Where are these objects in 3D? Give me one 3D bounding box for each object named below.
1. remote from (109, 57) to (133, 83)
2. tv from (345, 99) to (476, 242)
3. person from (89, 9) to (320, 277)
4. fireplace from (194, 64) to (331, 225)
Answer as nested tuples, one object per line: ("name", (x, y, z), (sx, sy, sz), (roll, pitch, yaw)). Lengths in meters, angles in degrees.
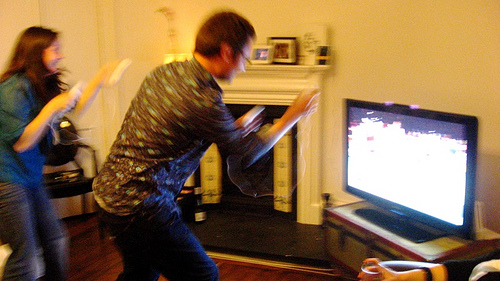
("remote", (-0.986, -0.534, 2.682), (0.053, 0.191, 0.154), (37, -15, -4))
("tv", (1.262, 0.248, 2.838), (1.334, 0.836, 0.143), (7, 13, 41))
("person", (-0.366, 0.058, 2.207), (1.038, 1.695, 0.403), (-4, 14, -28))
("fireplace", (0.120, 0.051, 3.978), (1.444, 1.745, 0.555), (4, 12, 11))
